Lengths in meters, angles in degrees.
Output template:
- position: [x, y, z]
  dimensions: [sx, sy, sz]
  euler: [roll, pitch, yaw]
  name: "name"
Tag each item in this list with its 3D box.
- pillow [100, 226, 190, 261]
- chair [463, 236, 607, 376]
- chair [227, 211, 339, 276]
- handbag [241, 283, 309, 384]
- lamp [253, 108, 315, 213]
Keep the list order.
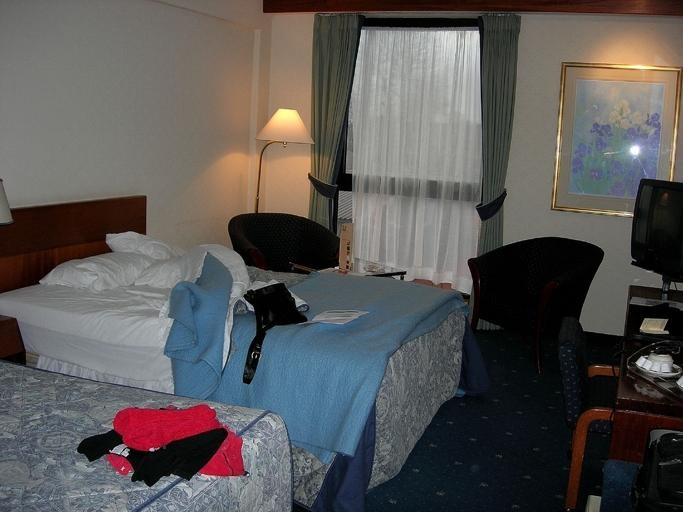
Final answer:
- position: [-1.715, -0.088, 4.215]
  dimensions: [0.391, 0.115, 0.355]
  euler: [22, 3, -27]
  name: "pillow"
- position: [1.960, 0.412, 4.844]
  dimensions: [1.150, 1.332, 1.162]
  euler: [10, 11, 43]
  name: "chair"
- position: [-0.684, -0.175, 5.462]
  dimensions: [0.800, 1.001, 0.834]
  euler: [-6, 10, -37]
  name: "chair"
- position: [-0.423, 0.476, 3.125]
  dimensions: [0.194, 0.582, 0.383]
  euler: [5, 9, 9]
  name: "handbag"
- position: [-0.719, -1.001, 5.859]
  dimensions: [0.687, 1.433, 0.703]
  euler: [3, 9, 5]
  name: "lamp"
